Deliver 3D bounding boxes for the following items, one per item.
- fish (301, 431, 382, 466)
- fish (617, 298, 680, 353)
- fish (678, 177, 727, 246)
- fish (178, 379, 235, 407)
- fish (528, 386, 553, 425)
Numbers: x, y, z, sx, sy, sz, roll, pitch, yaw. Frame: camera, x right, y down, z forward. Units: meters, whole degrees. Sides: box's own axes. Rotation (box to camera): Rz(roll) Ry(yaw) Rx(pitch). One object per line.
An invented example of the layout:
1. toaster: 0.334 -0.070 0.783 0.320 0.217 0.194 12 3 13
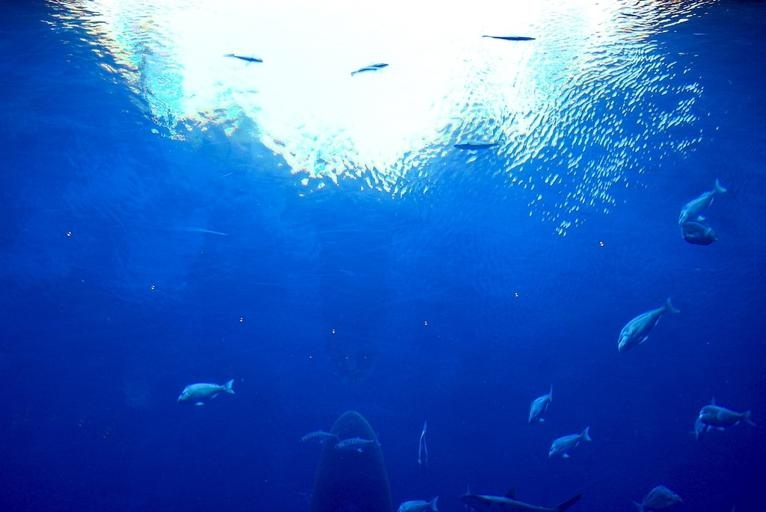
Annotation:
1. fish: -0.746 3.308 13.539 1.224 0.514 0.758 -12 -35 -4
2. fish: 4.981 1.295 14.340 1.277 0.467 0.530 -39 2 -6
3. fish: 5.839 -0.874 13.930 1.390 0.542 0.460 -41 -16 -39
4. fish: -3.256 2.487 13.808 1.087 0.451 0.243 -17 -9 8
5. fish: 2.928 2.801 14.250 0.381 0.200 0.830 -12 -45 -18
